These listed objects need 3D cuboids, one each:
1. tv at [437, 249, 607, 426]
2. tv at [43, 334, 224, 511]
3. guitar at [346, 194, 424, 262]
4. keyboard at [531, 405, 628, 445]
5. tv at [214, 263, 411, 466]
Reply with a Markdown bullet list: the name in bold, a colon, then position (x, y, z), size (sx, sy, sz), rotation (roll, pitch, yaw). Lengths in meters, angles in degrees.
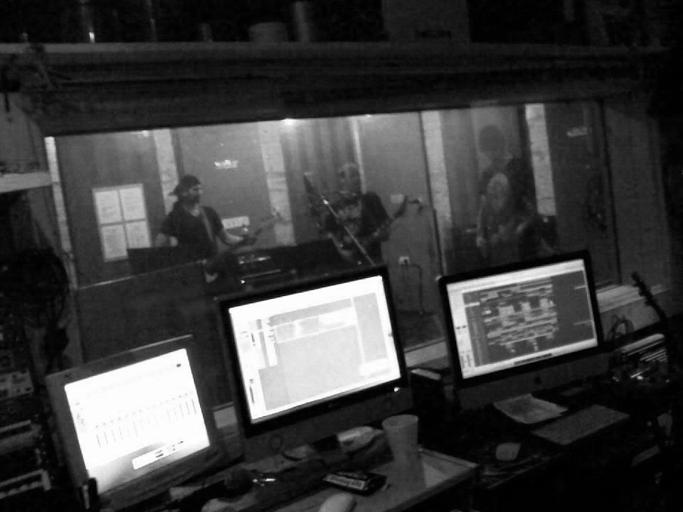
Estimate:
- **tv**: position (0.591, 0.289, 1.995), size (0.527, 0.365, 0.056), rotation (-13, 2, -17)
- **tv**: position (-0.559, 0.448, 1.604), size (0.395, 0.360, 0.135), rotation (-18, 1, -35)
- **guitar**: position (0.157, -0.106, 2.140), size (0.284, 0.186, 0.074), rotation (-46, -13, -6)
- **keyboard**: position (0.722, 0.506, 1.844), size (0.300, 0.019, 0.143), rotation (-10, 12, -25)
- **tv**: position (-0.091, 0.335, 1.777), size (0.563, 0.407, 0.071), rotation (-13, 0, -21)
